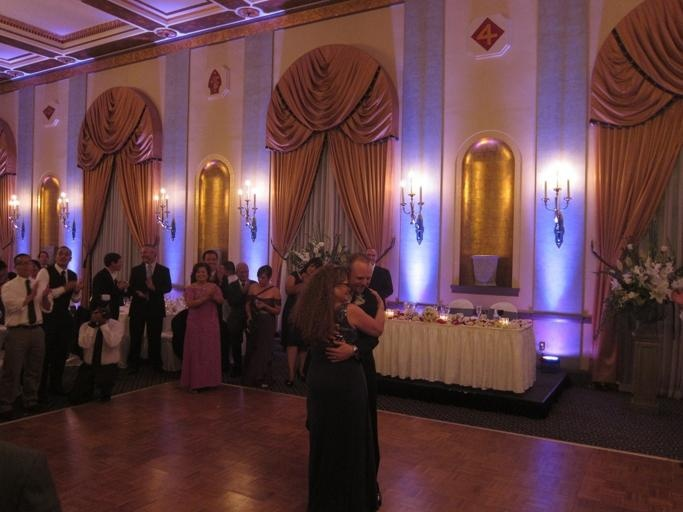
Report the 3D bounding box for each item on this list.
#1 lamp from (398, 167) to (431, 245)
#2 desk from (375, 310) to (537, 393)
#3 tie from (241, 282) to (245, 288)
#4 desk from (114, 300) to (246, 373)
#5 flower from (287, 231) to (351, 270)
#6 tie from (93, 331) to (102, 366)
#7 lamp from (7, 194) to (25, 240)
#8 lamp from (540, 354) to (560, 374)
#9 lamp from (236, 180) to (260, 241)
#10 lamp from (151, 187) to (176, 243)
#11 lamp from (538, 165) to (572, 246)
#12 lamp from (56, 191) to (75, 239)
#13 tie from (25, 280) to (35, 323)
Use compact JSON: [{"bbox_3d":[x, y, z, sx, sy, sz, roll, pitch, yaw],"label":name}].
[{"bbox_3d":[1.288,-0.834,9.532,0.433,1.303,0.269,2,7,9],"label":"lamp"},{"bbox_3d":[1.617,1.230,7.558,1.816,0.721,1.109,-1,-2,26],"label":"desk"},{"bbox_3d":[-1.674,0.513,8.828,0.076,0.084,0.059,-3,-3,39],"label":"tie"},{"bbox_3d":[-3.188,1.146,9.592,1.585,1.006,1.604,-11,13,46],"label":"desk"},{"bbox_3d":[-0.322,-0.038,8.696,0.763,0.520,0.823,-4,5,-13],"label":"flower"},{"bbox_3d":[-3.232,1.232,6.926,0.144,0.468,0.067,0,7,-4],"label":"tie"},{"bbox_3d":[-8.954,-1.037,14.419,0.353,1.220,0.747,-4,8,-33],"label":"lamp"},{"bbox_3d":[3.335,1.740,8.442,0.237,0.203,0.242,1,3,33],"label":"lamp"},{"bbox_3d":[-2.052,-0.920,11.202,0.621,1.260,0.262,6,9,40],"label":"lamp"},{"bbox_3d":[-4.102,-0.918,12.129,0.616,1.182,0.269,6,9,40],"label":"lamp"},{"bbox_3d":[3.500,-0.797,8.609,0.468,1.357,0.234,4,7,26],"label":"lamp"},{"bbox_3d":[-7.003,-0.863,13.316,0.333,1.112,0.341,-2,3,-13],"label":"lamp"},{"bbox_3d":[-3.900,0.598,6.571,0.184,0.554,0.099,6,9,41],"label":"tie"}]
